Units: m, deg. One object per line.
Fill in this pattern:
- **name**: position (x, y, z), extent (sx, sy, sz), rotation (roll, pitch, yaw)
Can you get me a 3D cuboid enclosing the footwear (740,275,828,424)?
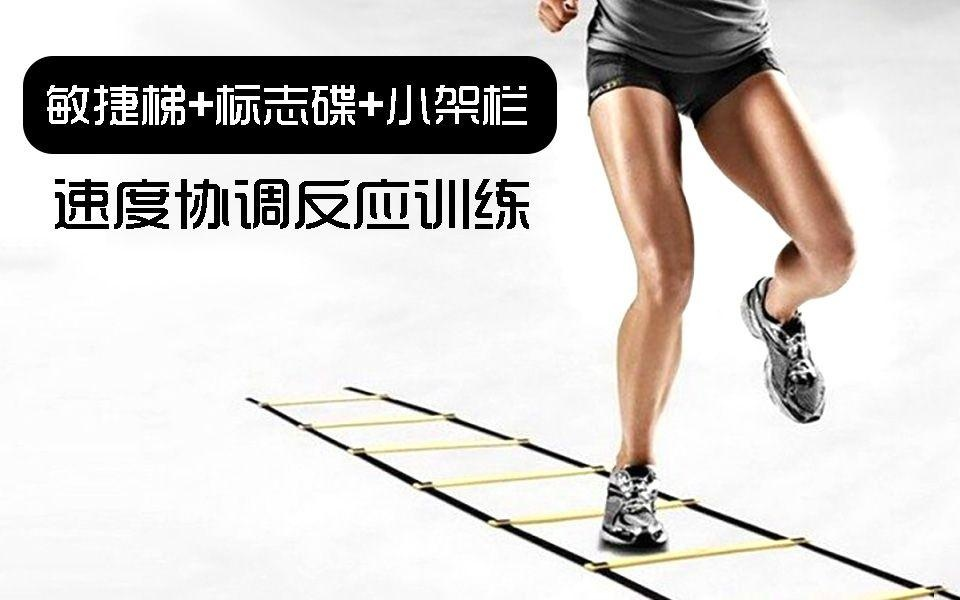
- **footwear**: position (1.067, 0.145, 3.216), extent (0.182, 0.480, 0.205), rotation (-20, -1, -25)
